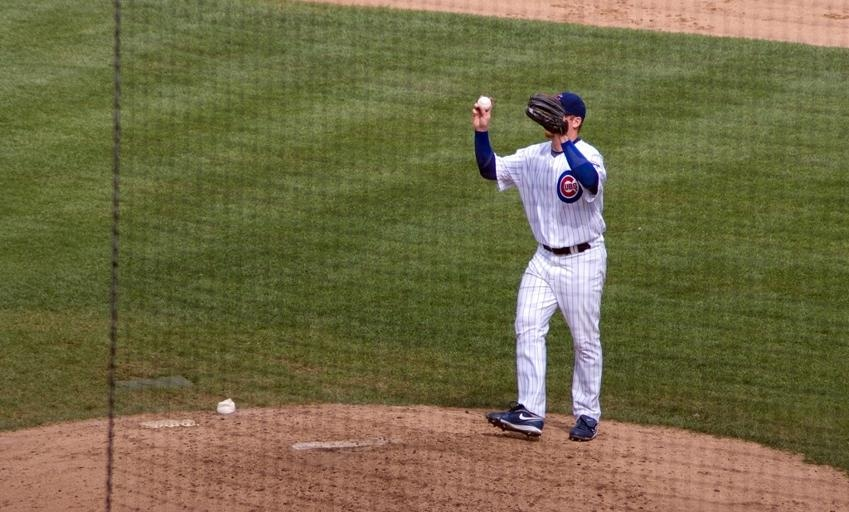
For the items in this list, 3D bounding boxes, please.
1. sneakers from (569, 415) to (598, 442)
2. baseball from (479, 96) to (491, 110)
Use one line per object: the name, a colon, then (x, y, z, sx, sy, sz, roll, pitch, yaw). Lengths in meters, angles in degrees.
sneakers: (1.948, 2.142, 18.617, 0.235, 0.197, 0.466, -2, -6, 28)
baseball: (0.724, -1.884, 18.559, 0.175, 0.100, 0.155, 17, 46, 17)
